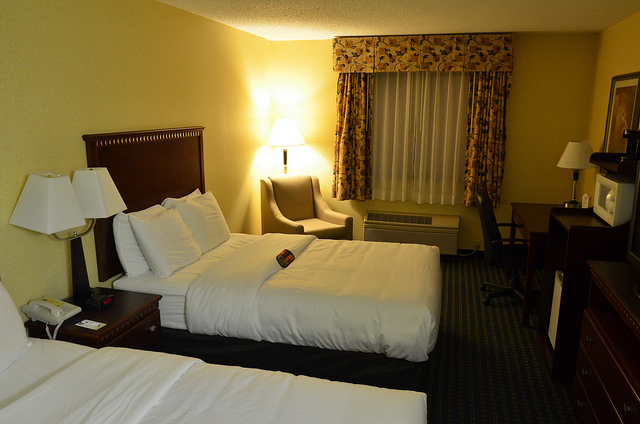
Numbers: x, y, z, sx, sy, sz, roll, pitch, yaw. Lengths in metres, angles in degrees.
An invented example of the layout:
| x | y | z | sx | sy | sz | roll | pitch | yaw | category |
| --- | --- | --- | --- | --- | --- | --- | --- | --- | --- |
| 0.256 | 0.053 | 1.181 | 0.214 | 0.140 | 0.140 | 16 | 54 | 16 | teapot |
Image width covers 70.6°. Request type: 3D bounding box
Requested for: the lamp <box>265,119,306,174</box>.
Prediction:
| x | y | z | sx | sy | sz | roll | pitch | yaw | category |
| --- | --- | --- | --- | --- | --- | --- | --- | --- | --- |
| -0.530 | -0.920 | 6.911 | 0.617 | 0.996 | 0.585 | -8 | 14 | -22 | lamp |

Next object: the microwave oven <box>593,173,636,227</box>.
| x | y | z | sx | sy | sz | roll | pitch | yaw | category |
| --- | --- | --- | --- | --- | --- | --- | --- | --- | --- |
| 2.569 | -0.119 | 3.923 | 0.191 | 0.407 | 0.439 | 2 | 13 | 16 | microwave oven |

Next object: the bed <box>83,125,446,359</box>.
| x | y | z | sx | sy | sz | roll | pitch | yaw | category |
| --- | --- | --- | --- | --- | --- | --- | --- | --- | --- |
| -0.347 | 0.012 | 4.877 | 3.248 | 2.210 | 2.032 | 2 | 14 | 11 | bed |

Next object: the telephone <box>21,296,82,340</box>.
| x | y | z | sx | sy | sz | roll | pitch | yaw | category |
| --- | --- | --- | --- | --- | --- | --- | --- | --- | --- |
| -2.198 | 0.834 | 3.722 | 0.585 | 0.201 | 0.445 | 14 | 9 | 43 | telephone |

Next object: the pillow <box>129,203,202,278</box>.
| x | y | z | sx | sy | sz | roll | pitch | yaw | category |
| --- | --- | --- | --- | --- | --- | --- | --- | --- | --- |
| -1.571 | 0.277 | 4.713 | 0.400 | 0.659 | 0.740 | 3 | 15 | 18 | pillow |

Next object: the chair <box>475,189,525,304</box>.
| x | y | z | sx | sy | sz | roll | pitch | yaw | category |
| --- | --- | --- | --- | --- | --- | --- | --- | --- | --- |
| 2.267 | 0.352 | 5.594 | 0.580 | 1.333 | 1.265 | 4 | 14 | 25 | chair |

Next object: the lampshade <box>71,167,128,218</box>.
| x | y | z | sx | sy | sz | roll | pitch | yaw | category |
| --- | --- | --- | --- | --- | --- | --- | --- | --- | --- |
| -1.910 | -0.184 | 3.970 | 0.368 | 0.446 | 0.301 | 13 | 12 | 25 | lampshade |

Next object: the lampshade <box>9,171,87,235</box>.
| x | y | z | sx | sy | sz | roll | pitch | yaw | category |
| --- | --- | --- | --- | --- | --- | --- | --- | --- | --- |
| -2.145 | -0.113 | 3.623 | 0.477 | 0.504 | 0.467 | -7 | 13 | -44 | lampshade |

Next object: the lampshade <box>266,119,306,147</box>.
| x | y | z | sx | sy | sz | roll | pitch | yaw | category |
| --- | --- | --- | --- | --- | --- | --- | --- | --- | --- |
| -0.515 | -1.167 | 6.645 | 0.452 | 0.257 | 0.393 | -12 | 18 | -25 | lampshade |

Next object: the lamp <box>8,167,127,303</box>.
| x | y | z | sx | sy | sz | roll | pitch | yaw | category |
| --- | --- | --- | --- | --- | --- | --- | --- | --- | --- |
| -2.138 | 0.255 | 3.897 | 0.382 | 1.128 | 0.728 | -1 | 13 | 11 | lamp |

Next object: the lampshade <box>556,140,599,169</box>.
| x | y | z | sx | sy | sz | roll | pitch | yaw | category |
| --- | --- | --- | --- | --- | --- | --- | --- | --- | --- |
| 3.084 | -0.614 | 5.456 | 0.421 | 0.423 | 0.413 | -17 | 16 | -36 | lampshade |

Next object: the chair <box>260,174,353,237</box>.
| x | y | z | sx | sy | sz | roll | pitch | yaw | category |
| --- | --- | --- | --- | --- | --- | --- | --- | --- | --- |
| -0.196 | 0.035 | 6.541 | 1.079 | 1.071 | 1.055 | -7 | 14 | -29 | chair |

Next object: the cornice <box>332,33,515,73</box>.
| x | y | z | sx | sy | sz | roll | pitch | yaw | category |
| --- | --- | --- | --- | --- | --- | --- | --- | --- | --- |
| 1.441 | -2.225 | 6.374 | 2.418 | 0.578 | 0.144 | 1 | 13 | 12 | cornice |
